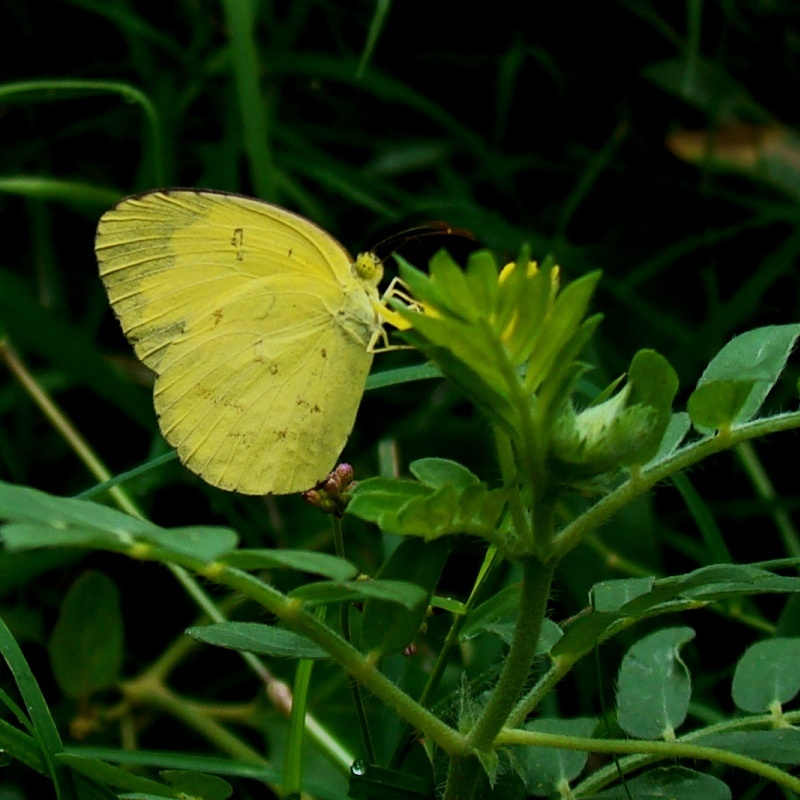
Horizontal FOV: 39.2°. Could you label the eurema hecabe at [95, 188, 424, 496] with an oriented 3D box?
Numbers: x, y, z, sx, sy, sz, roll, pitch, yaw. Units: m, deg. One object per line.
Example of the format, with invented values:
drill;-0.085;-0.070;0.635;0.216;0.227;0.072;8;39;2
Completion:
eurema hecabe;-0.210;-0.094;1.504;0.261;0.404;0.456;44;0;-28
